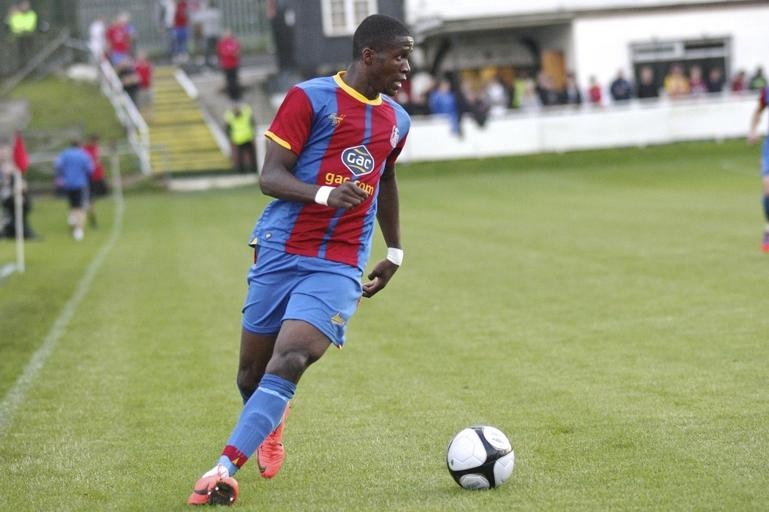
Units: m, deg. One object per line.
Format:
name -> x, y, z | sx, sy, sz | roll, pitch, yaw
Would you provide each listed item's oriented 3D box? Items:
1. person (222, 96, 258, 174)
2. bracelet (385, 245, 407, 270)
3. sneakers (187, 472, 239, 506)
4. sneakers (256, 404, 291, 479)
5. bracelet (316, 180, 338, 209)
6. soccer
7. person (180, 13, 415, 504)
person -> -2.515, -2.186, 19.838 | 0.540, 1.649, 0.513 | -16, 51, -9
bracelet -> 0.066, 0.002, 7.049 | 0.114, 0.095, 0.116 | 6, -8, 21
sneakers -> -0.957, 1.330, 6.361 | 0.216, 0.099, 0.170 | -2, -11, 29
sneakers -> -0.666, 1.184, 6.850 | 0.167, 0.554, 0.237 | 3, -7, 7
bracelet -> -0.332, -0.340, 6.321 | 0.118, 0.102, 0.124 | -3, 14, -3
soccer -> 0.550, 1.190, 6.552 | 0.344, 0.330, 0.342 | 1, 50, -3
person -> -0.435, -0.028, 6.597 | 1.437, 2.685, 0.753 | -8, 15, -20
